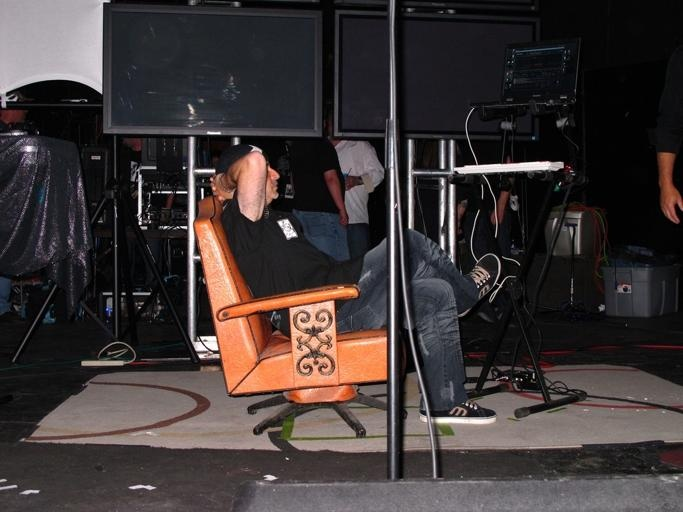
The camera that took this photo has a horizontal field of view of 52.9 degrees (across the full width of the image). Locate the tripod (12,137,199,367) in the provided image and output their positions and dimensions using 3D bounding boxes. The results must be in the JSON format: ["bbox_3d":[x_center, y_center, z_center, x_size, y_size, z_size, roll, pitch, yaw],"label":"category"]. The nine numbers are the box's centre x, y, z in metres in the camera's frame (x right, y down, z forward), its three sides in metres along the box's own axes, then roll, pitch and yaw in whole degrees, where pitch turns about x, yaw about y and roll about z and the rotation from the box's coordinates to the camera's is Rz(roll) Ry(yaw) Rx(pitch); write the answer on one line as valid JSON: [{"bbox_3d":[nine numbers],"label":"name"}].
[{"bbox_3d":[-1.568,-0.019,4.788,1.124,1.470,0.997,3,6,39],"label":"tripod"}]

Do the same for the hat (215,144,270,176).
[{"bbox_3d":[-0.536,-0.507,3.522,0.250,0.176,0.316,-8,8,0],"label":"hat"}]

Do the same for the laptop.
[{"bbox_3d":[1.055,-1.020,3.948,0.705,0.495,0.412,0,-1,33],"label":"laptop"}]

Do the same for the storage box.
[{"bbox_3d":[3.012,0.341,6.986,0.714,0.438,0.450,-4,4,-43],"label":"storage box"}]

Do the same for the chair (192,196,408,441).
[{"bbox_3d":[-0.329,0.300,3.676,1.153,1.399,1.010,-2,-1,-4],"label":"chair"}]
